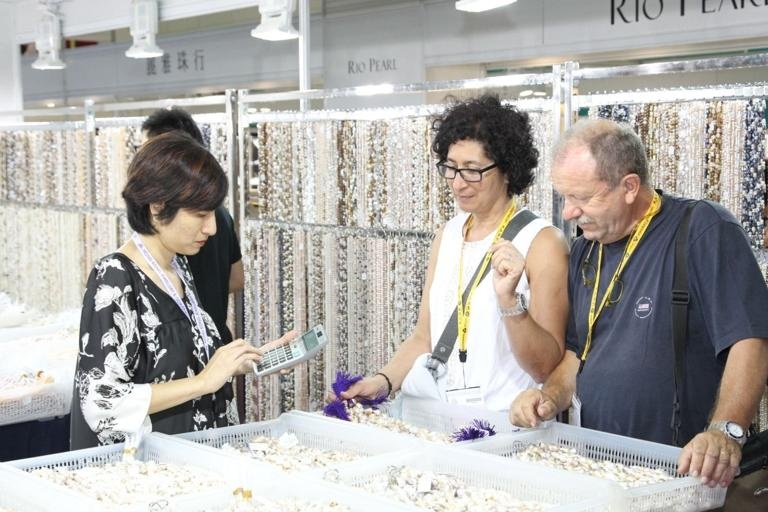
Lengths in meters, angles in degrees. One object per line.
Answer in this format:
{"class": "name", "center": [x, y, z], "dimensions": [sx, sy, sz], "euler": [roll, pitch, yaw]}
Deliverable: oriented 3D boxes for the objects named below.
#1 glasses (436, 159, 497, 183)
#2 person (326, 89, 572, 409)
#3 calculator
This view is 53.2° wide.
{"class": "glasses", "center": [0.365, -0.397, 3.596], "dimensions": [0.142, 0.105, 0.322], "euler": [-6, 7, -43]}
{"class": "person", "center": [0.488, 0.065, 3.794], "dimensions": [0.930, 1.526, 0.793], "euler": [4, 23, 11]}
{"class": "calculator", "center": [-0.410, 0.397, 3.331], "dimensions": [0.326, 0.212, 0.128], "euler": [-2, 5, -4]}
